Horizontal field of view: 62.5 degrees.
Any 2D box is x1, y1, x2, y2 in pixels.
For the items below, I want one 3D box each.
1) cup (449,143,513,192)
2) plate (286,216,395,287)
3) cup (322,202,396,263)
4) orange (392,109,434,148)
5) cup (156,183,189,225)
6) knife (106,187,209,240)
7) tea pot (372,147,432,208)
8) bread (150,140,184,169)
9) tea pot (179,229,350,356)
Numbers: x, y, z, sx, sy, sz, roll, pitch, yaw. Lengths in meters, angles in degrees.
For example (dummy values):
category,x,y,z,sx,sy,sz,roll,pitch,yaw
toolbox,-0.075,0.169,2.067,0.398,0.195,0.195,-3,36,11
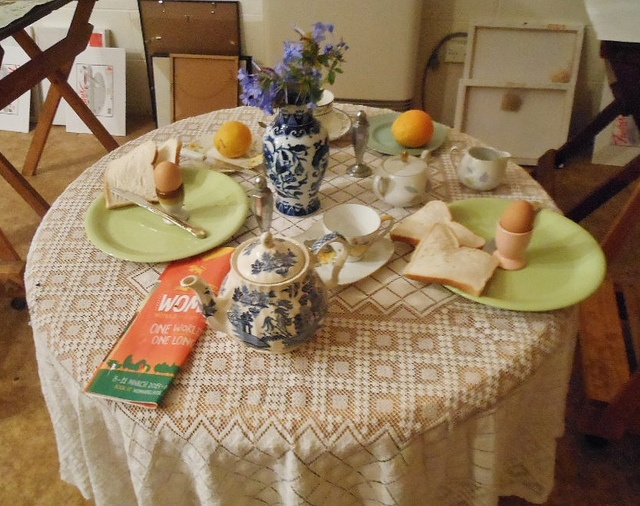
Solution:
category,x,y,z,sx,sy,sz,roll,pitch,yaw
cup,0.457,-0.244,1.514,0.167,0.098,0.119,20,45,24
plate,-0.005,0.011,1.393,0.247,0.277,0.040,-10,63,-26
cup,0.081,-0.022,1.282,0.156,0.087,0.115,-14,26,-10
orange,0.290,-0.381,1.635,0.143,0.092,0.119,-1,45,7
cup,-0.394,-0.134,1.414,0.083,0.104,0.078,3,7,0
knife,-0.445,-0.101,1.400,0.348,0.017,0.043,23,89,7
tea pot,0.215,-0.196,1.420,0.191,0.116,0.123,-25,45,-24
bread,-0.428,-0.288,1.539,0.101,0.023,0.088,22,80,34
tea pot,-0.101,0.067,1.095,0.375,0.222,0.216,-13,42,-19
